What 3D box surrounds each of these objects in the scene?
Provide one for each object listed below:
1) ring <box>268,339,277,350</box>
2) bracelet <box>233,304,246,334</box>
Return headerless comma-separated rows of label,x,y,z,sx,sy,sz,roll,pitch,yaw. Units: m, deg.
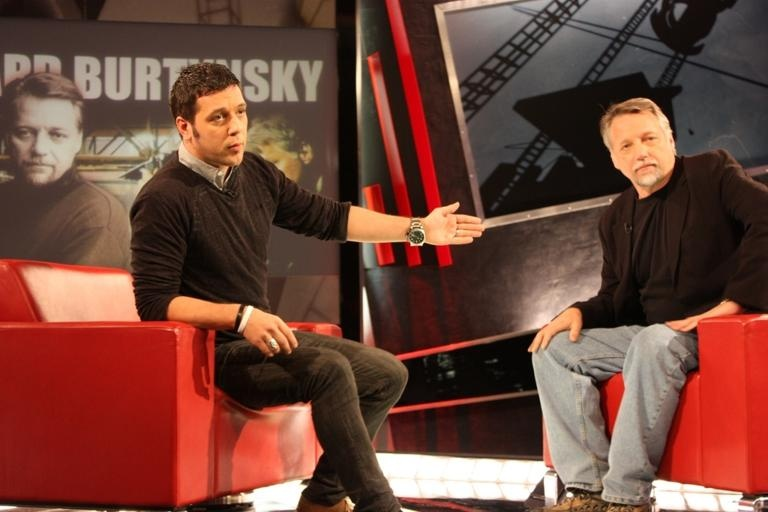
ring,-0.412,0.323,2.464,0.035,0.044,0.013,0,1,-9
bracelet,-0.539,0.230,2.473,0.042,0.102,0.030,0,1,-7
